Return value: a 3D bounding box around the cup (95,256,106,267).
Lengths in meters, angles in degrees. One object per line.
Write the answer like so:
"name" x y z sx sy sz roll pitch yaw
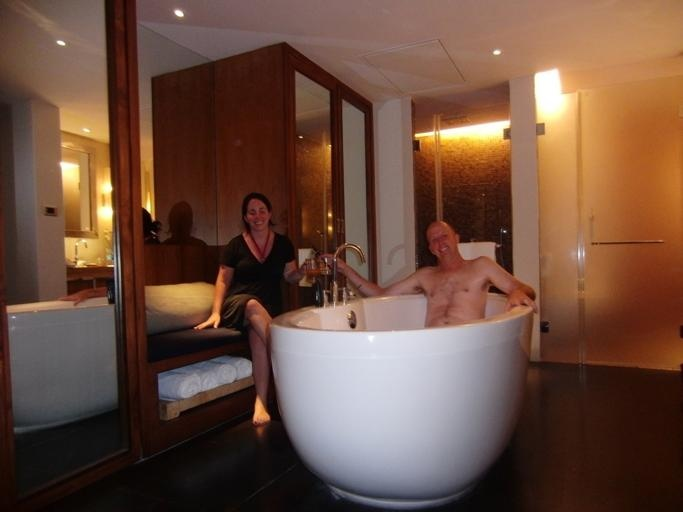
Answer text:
"cup" -1.220 0.025 2.691 0.035 0.037 0.047 0 -3 20

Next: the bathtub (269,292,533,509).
"bathtub" 0.274 0.634 2.351 0.744 0.572 1.280 0 -1 22

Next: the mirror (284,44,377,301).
"mirror" -0.109 -0.670 4.099 0.118 1.609 1.751 3 2 21

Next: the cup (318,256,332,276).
"cup" -0.106 0.064 3.479 0.117 0.145 0.123 -1 4 0

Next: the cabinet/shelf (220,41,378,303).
"cabinet/shelf" -0.356 -0.636 3.889 0.578 1.552 1.541 8 12 37

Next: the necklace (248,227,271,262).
"necklace" -0.542 -0.068 3.568 0.132 0.198 0.046 -3 -21 -20

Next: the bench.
"bench" -0.868 0.502 3.111 0.067 0.245 0.700 -5 -3 40
